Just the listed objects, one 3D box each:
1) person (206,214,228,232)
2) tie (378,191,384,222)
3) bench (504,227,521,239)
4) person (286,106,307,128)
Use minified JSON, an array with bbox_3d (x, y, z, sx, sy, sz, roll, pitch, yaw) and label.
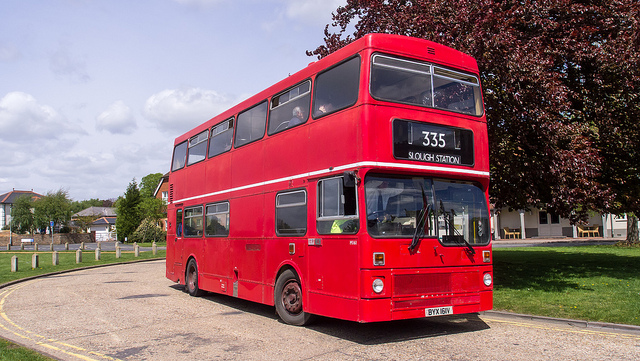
[{"bbox_3d":[-4.227,1.677,17.242,0.783,0.727,0.208,-2,3,44],"label":"person"},{"bbox_3d":[1.742,0.718,11.899,0.177,0.774,0.044,-2,0,-24],"label":"tie"},{"bbox_3d":[23.862,6.613,51.913,1.377,1.683,1.763,-1,-2,-3],"label":"bench"},{"bbox_3d":[-0.689,-2.174,13.864,0.597,0.798,0.858,-6,7,-33],"label":"person"}]
